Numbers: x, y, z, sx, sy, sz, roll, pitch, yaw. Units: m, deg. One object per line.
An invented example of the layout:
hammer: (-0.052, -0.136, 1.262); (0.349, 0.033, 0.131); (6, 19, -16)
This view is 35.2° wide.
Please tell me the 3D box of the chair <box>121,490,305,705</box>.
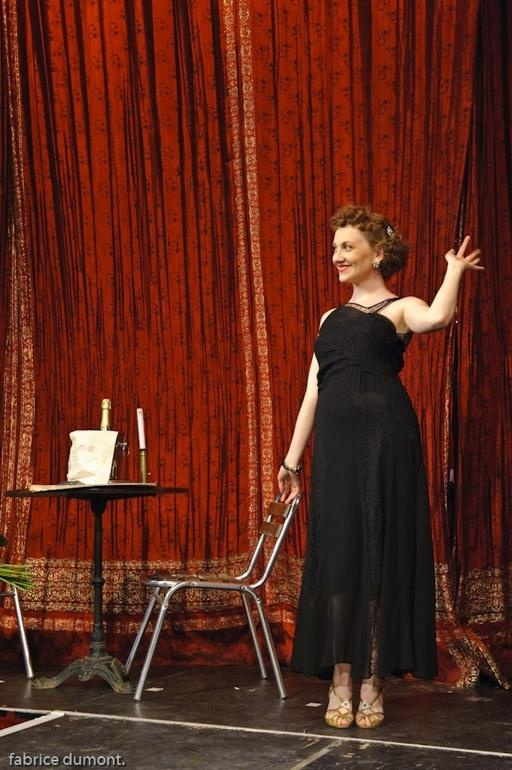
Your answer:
chair: (-0.160, 0.700, 2.691); (0.524, 0.581, 0.392); (5, -10, -15)

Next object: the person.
person: (0.333, 0.200, 2.204); (0.296, 1.402, 0.652); (9, -11, -41)

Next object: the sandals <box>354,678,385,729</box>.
sandals: (0.306, 0.841, 2.146); (0.072, 0.045, 0.176); (3, 13, 16)

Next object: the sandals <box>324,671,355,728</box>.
sandals: (0.216, 0.820, 2.111); (0.063, 0.065, 0.174); (-1, 7, 6)

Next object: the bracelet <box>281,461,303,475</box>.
bracelet: (0.104, 0.242, 2.376); (0.053, 0.022, 0.030); (11, -4, 24)
